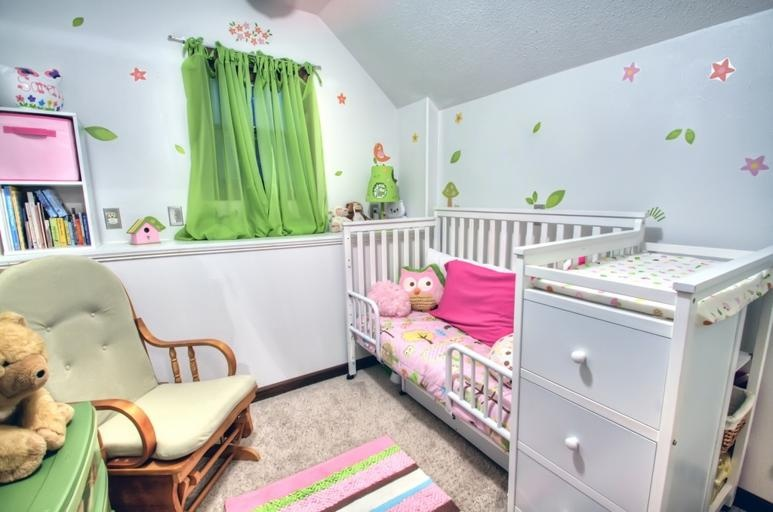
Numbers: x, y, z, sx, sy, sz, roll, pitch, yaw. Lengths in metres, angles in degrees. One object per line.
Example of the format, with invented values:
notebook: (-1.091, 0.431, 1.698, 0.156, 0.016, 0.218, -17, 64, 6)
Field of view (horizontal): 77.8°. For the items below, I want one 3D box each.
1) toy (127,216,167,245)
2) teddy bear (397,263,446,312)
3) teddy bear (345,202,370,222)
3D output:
toy: (-1.480, -0.156, 2.957, 0.216, 0.162, 0.158, -8, 11, -26)
teddy bear: (0.249, 0.227, 3.316, 0.335, 0.348, 0.357, 0, 11, 23)
teddy bear: (-0.217, -0.317, 3.505, 0.087, 0.104, 0.255, -3, 17, -10)
